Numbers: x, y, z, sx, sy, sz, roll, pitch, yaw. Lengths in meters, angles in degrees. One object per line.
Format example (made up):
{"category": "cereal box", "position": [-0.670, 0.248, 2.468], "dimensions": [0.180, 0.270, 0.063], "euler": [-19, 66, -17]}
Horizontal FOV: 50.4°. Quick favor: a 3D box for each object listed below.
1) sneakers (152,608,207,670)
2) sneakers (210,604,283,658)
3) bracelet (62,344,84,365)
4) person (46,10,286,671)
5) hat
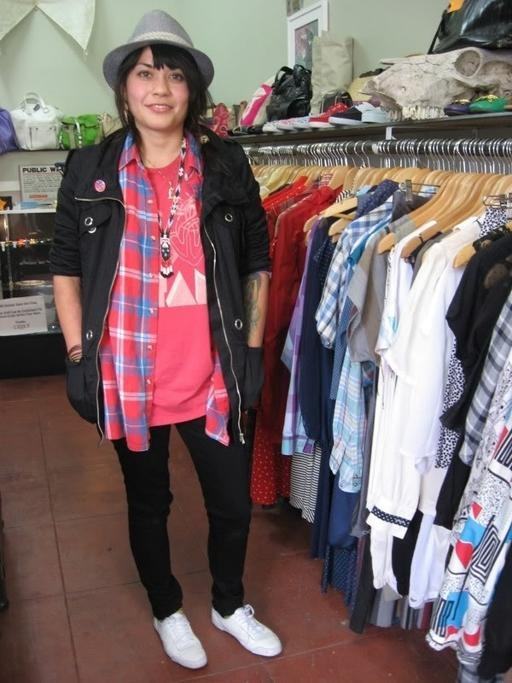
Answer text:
{"category": "sneakers", "position": [-0.208, 0.847, 1.563], "dimensions": [0.070, 0.070, 0.188], "euler": [-6, 8, -26]}
{"category": "sneakers", "position": [-0.027, 0.841, 1.655], "dimensions": [0.229, 0.092, 0.084], "euler": [9, 18, 42]}
{"category": "bracelet", "position": [-0.432, 0.032, 1.286], "dimensions": [0.039, 0.043, 0.051], "euler": [0, -10, -8]}
{"category": "person", "position": [-0.211, 0.083, 1.410], "dimensions": [0.561, 1.689, 0.290], "euler": [-4, 13, -22]}
{"category": "hat", "position": [-0.220, -0.684, 1.238], "dimensions": [0.200, 0.098, 0.197], "euler": [-10, 15, -30]}
